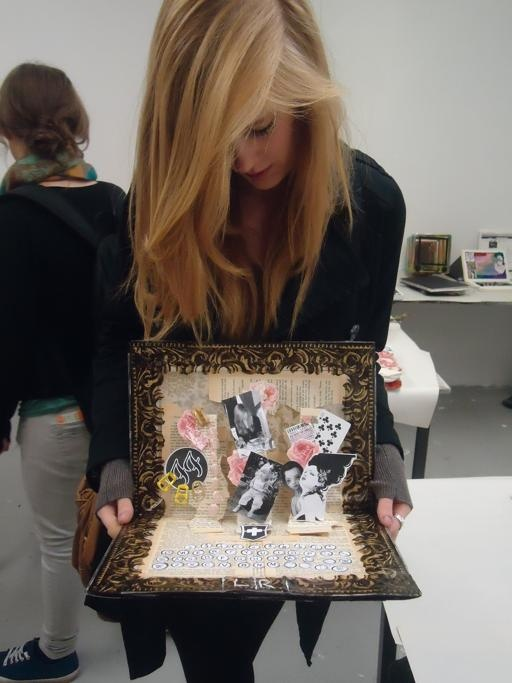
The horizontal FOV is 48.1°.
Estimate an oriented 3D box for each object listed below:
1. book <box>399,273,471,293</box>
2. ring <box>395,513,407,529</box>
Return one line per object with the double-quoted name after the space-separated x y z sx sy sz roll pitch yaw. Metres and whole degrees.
0.912 -0.299 2.916 0.323 0.045 0.429 -5 13 -21 "book"
0.226 0.283 0.912 0.014 0.020 0.025 8 13 16 "ring"
